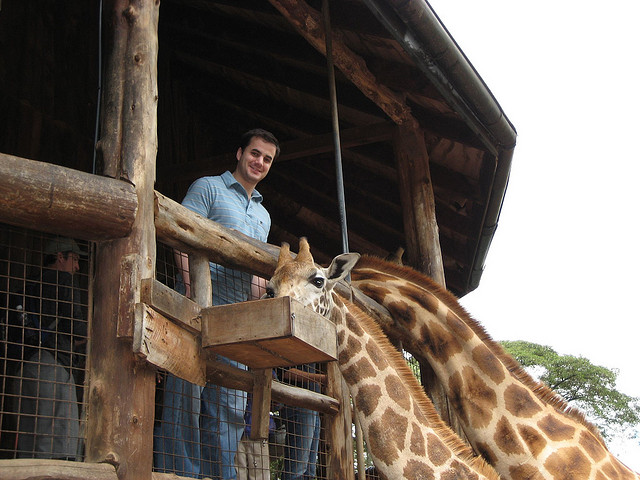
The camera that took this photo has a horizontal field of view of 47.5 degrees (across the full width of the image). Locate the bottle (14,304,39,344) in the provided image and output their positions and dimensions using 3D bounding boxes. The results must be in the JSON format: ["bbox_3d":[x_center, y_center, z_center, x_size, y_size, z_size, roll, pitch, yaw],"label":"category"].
[{"bbox_3d":[-2.381,0.680,5.920,0.109,0.410,0.113,-25,-14,-7],"label":"bottle"}]

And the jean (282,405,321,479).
[{"bbox_3d":[-0.175,1.934,6.999,0.186,0.838,0.374,3,-6,-10],"label":"jean"}]

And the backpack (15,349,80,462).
[{"bbox_3d":[-2.150,1.307,5.696,0.415,1.027,0.700,5,-18,-25],"label":"backpack"}]

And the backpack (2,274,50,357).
[{"bbox_3d":[-2.393,0.642,5.934,0.266,0.572,0.377,29,-54,-35],"label":"backpack"}]

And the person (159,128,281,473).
[{"bbox_3d":[-0.844,0.455,6.474,0.899,3.191,1.059,5,-31,-11],"label":"person"}]

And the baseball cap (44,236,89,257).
[{"bbox_3d":[-2.190,0.056,6.245,0.216,0.131,0.150,-5,-2,-15],"label":"baseball cap"}]
